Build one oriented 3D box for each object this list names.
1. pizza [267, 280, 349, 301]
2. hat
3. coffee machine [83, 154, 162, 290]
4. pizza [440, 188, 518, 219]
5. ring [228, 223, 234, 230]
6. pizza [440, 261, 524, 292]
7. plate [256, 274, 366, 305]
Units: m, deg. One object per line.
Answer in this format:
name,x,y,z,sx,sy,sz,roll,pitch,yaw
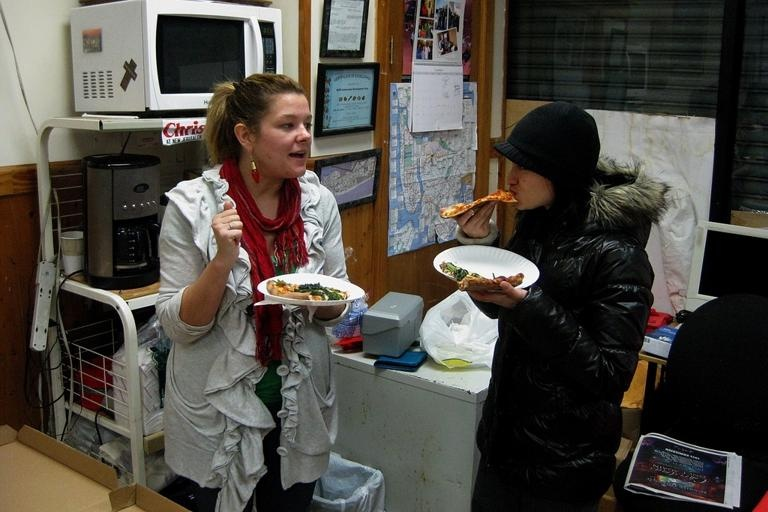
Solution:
pizza,-0.248,0.108,1.754,0.132,0.027,0.108,12,9,12
hat,0.547,-0.403,1.835,0.370,0.220,0.260,9,28,2
coffee machine,-1.080,-0.146,2.293,0.310,0.523,0.209,-5,14,-23
pizza,0.373,-0.174,2.050,0.293,0.076,0.180,-14,20,-2
ring,-0.471,-0.093,1.693,0.016,0.018,0.010,0,13,2
pizza,0.295,0.067,1.769,0.287,0.058,0.247,5,14,22
plate,-0.243,0.109,1.779,0.307,0.048,0.304,-6,17,-40
